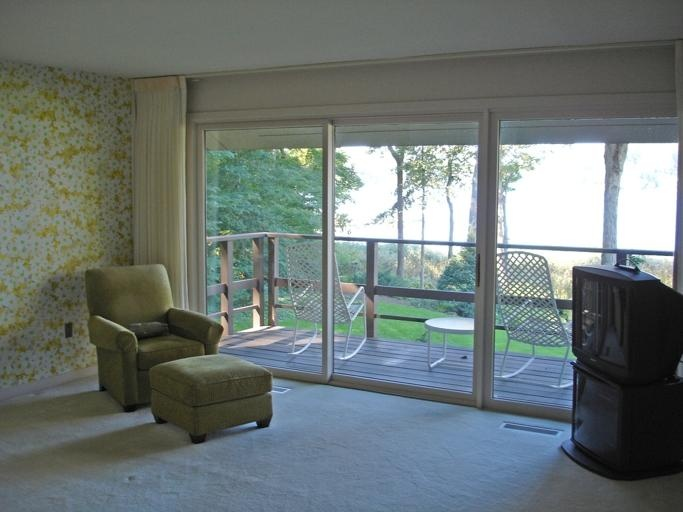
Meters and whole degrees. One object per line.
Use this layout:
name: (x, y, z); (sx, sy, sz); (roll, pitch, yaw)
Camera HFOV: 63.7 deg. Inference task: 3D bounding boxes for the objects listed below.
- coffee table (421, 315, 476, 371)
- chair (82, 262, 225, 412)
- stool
coffee table: (0.941, 0.792, 4.953); (0.512, 0.376, 0.498); (-2, 5, -41)
chair: (-1.760, 0.676, 5.004); (0.971, 0.981, 1.114); (-1, 10, -38)
stool: (-0.985, 1.046, 4.269); (0.702, 0.398, 0.691); (2, -2, -39)
